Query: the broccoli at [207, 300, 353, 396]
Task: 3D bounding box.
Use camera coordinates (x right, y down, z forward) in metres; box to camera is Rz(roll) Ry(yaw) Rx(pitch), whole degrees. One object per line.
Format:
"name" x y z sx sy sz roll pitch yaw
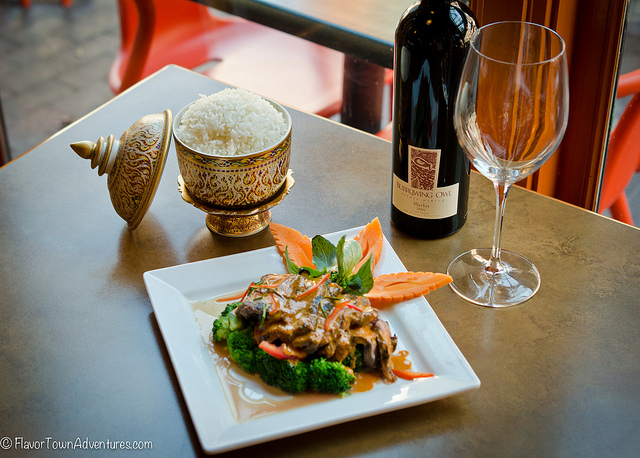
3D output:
"broccoli" -0.031 0.138 0.736 0.142 0.074 0.213 11 33 16

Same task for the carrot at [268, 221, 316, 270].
"carrot" -0.043 0.024 0.857 0.044 0.015 0.102 -21 52 -23

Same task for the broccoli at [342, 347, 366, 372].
"broccoli" 0.051 0.177 0.689 0.028 0.016 0.036 10 73 -9

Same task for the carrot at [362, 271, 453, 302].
"carrot" 0.135 0.092 0.798 0.135 0.042 0.050 -4 48 -3

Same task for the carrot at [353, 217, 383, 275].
"carrot" 0.081 0.025 0.857 0.048 0.064 0.149 3 49 4

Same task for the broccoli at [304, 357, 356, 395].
"broccoli" 0.012 0.191 0.666 0.063 0.041 0.028 5 47 6

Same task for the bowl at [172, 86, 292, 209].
"bowl" -0.164 -0.110 0.907 0.155 0.158 0.178 -10 30 -18
